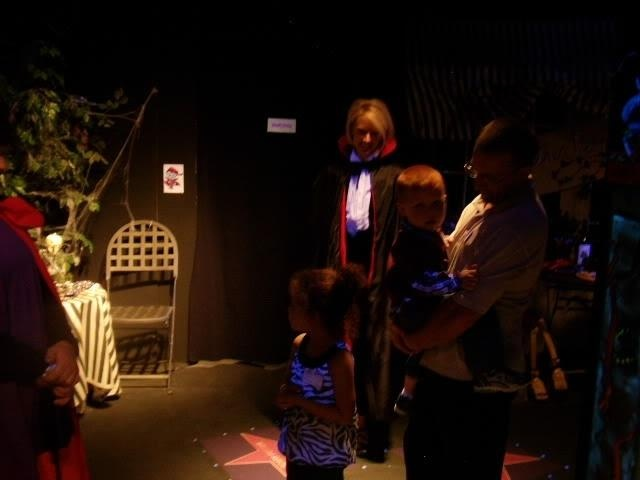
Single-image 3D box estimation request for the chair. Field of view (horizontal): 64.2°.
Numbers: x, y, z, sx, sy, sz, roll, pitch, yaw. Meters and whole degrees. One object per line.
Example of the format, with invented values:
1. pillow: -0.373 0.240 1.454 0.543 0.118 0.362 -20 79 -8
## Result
1. chair: -1.574 0.523 4.494 0.668 1.359 0.748 -2 14 -14
